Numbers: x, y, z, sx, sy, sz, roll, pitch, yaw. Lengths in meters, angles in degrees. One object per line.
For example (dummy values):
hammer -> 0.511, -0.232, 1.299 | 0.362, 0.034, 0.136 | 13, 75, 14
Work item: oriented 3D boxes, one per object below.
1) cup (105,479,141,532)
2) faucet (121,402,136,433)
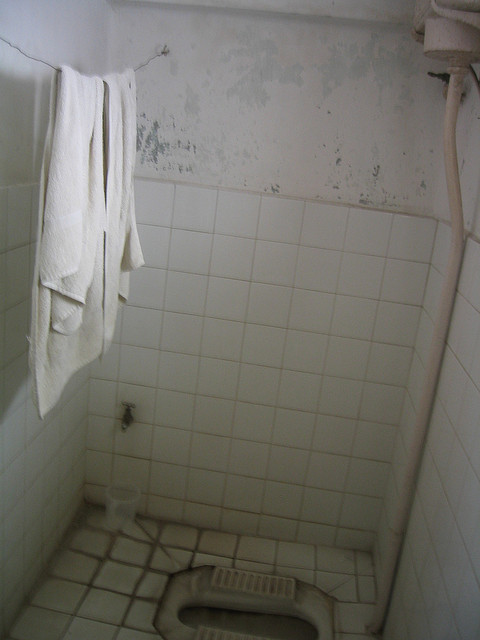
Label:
cup -> -0.457, 0.729, 2.011 | 0.114, 0.157, 0.184 | 7, -85, -1
faucet -> -0.430, 0.391, 1.974 | 0.052, 0.064, 0.128 | 12, -58, 2
